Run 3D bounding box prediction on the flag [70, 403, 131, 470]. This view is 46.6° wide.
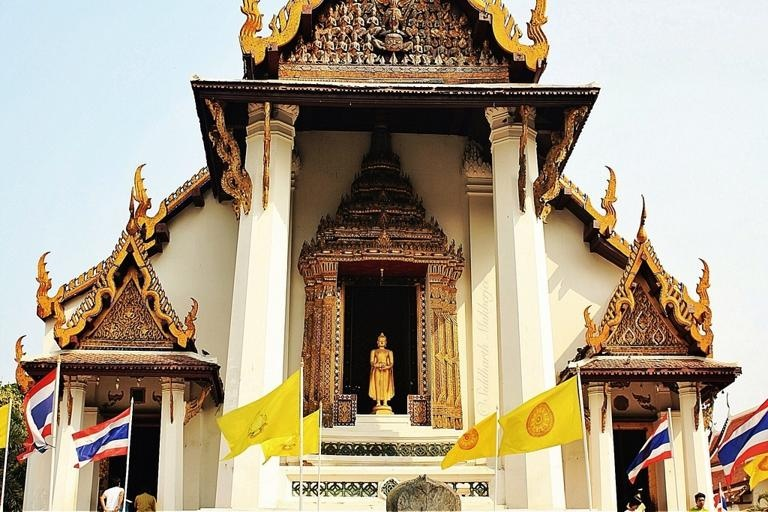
[{"bbox_3d":[-4.156,2.591,12.974,1.100,0.912,0.117,-23,-29,24],"label":"flag"}]

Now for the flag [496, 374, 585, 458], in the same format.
[{"bbox_3d":[1.946,2.029,11.368,1.231,1.141,0.146,-13,-17,32],"label":"flag"}]

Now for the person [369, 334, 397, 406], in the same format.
[{"bbox_3d":[-0.060,1.942,14.619,0.406,1.294,0.423,-2,-25,-1],"label":"person"}]

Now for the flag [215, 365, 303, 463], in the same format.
[{"bbox_3d":[-1.603,2.067,11.590,1.466,1.238,0.158,-21,-29,22],"label":"flag"}]

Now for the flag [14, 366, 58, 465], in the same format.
[{"bbox_3d":[-4.579,2.030,11.871,0.426,1.346,1.457,7,-27,-20],"label":"flag"}]

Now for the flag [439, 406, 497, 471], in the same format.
[{"bbox_3d":[1.148,2.608,12.606,1.128,1.234,0.135,-11,-27,34],"label":"flag"}]
